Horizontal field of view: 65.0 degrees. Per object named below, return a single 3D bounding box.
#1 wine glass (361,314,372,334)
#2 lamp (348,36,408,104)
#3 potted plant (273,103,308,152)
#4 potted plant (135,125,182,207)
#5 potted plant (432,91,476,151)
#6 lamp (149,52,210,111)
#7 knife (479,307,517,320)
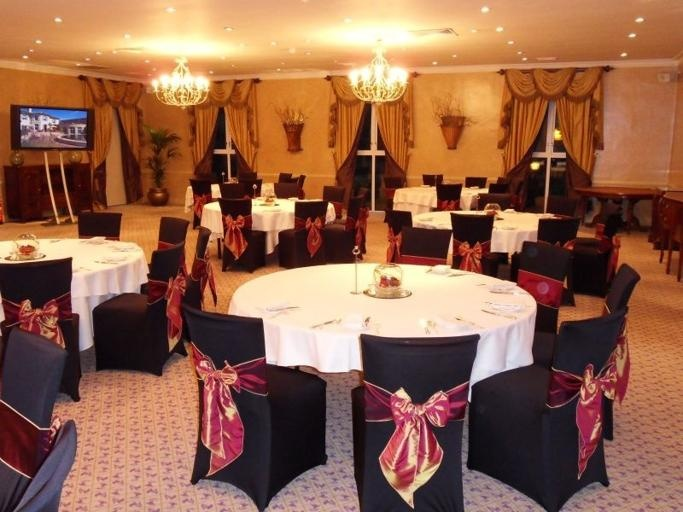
[{"bbox_3d":[0.144,0.398,3.083,0.067,0.109,0.249,-1,-1,7],"label":"wine glass"},{"bbox_3d":[0.596,-2.978,8.570,0.780,1.141,0.855,0,5,-25],"label":"lamp"},{"bbox_3d":[-1.111,-3.003,12.816,0.779,1.392,0.859,-1,6,-2],"label":"potted plant"},{"bbox_3d":[-4.806,-2.340,14.043,1.088,2.124,1.244,23,29,37],"label":"potted plant"},{"bbox_3d":[2.385,-2.751,11.507,0.663,1.017,0.641,2,-2,-45],"label":"potted plant"},{"bbox_3d":[-2.957,-3.185,9.983,0.901,0.874,0.950,3,9,17],"label":"lamp"},{"bbox_3d":[0.967,0.354,3.264,0.215,0.031,0.064,17,34,43],"label":"knife"}]
